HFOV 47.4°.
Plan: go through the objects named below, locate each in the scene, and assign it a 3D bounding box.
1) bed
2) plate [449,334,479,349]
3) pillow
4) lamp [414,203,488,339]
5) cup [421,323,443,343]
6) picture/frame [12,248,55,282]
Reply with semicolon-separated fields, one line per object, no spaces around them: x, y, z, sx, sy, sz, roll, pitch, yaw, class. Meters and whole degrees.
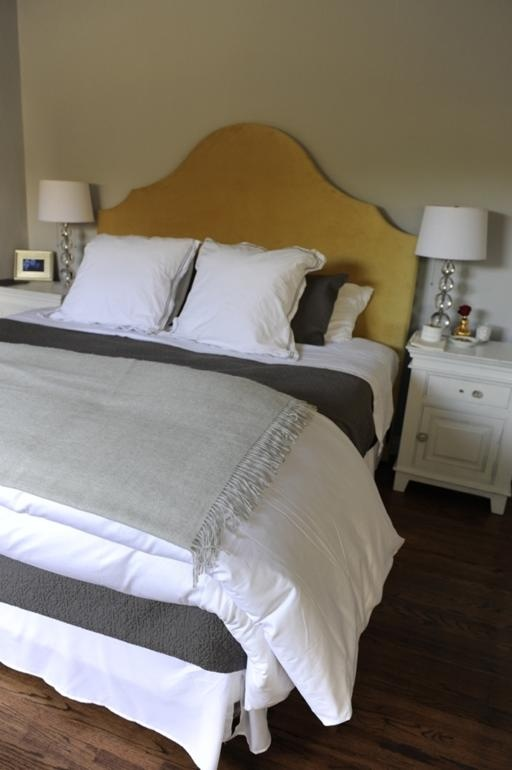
-0.138;-0.007;3.793;2.917;2.006;1.499;15;20;19;bed
0.904;-0.196;2.552;0.083;0.022;0.080;4;22;13;plate
-0.287;-0.416;2.560;1.165;0.467;0.405;14;17;20;pillow
0.842;-0.486;2.586;0.288;0.582;0.345;14;17;18;lamp
0.771;-0.228;2.561;0.088;0.062;0.087;0;14;0;cup
-1.368;-0.721;3.559;0.242;0.199;0.018;0;-3;-10;picture/frame
